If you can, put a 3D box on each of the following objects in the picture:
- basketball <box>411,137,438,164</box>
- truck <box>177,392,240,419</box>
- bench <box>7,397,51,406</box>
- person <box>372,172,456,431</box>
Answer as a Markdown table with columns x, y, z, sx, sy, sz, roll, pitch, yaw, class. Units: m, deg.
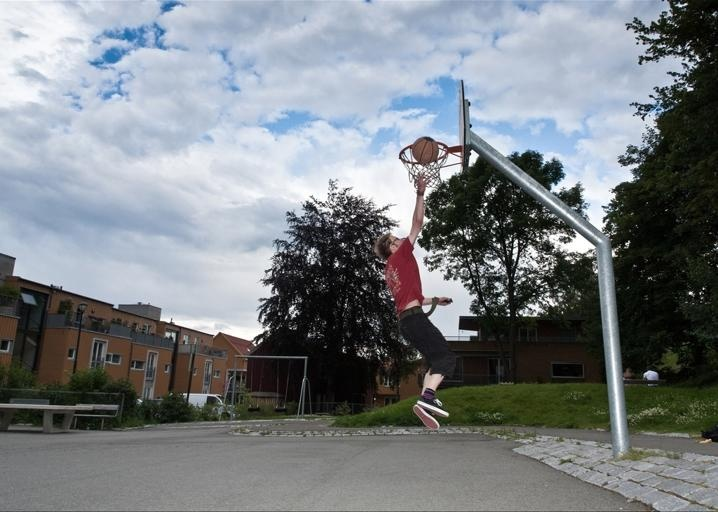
| x | y | z | sx | sy | sz | roll | pitch | yaw | class |
| --- | --- | --- | --- | --- | --- | --- | --- | --- | --- |
| 1.085 | -1.744 | 8.072 | 0.414 | 0.474 | 0.436 | -14 | 22 | -39 | basketball |
| -11.104 | 10.920 | 36.206 | 2.504 | 1.797 | 17.081 | 6 | -18 | -18 | truck |
| -10.409 | 4.575 | 15.473 | 0.348 | 0.178 | 1.509 | -2 | -18 | 8 | bench |
| 0.804 | 0.550 | 7.180 | 1.100 | 3.753 | 0.896 | 2 | -17 | -7 | person |
